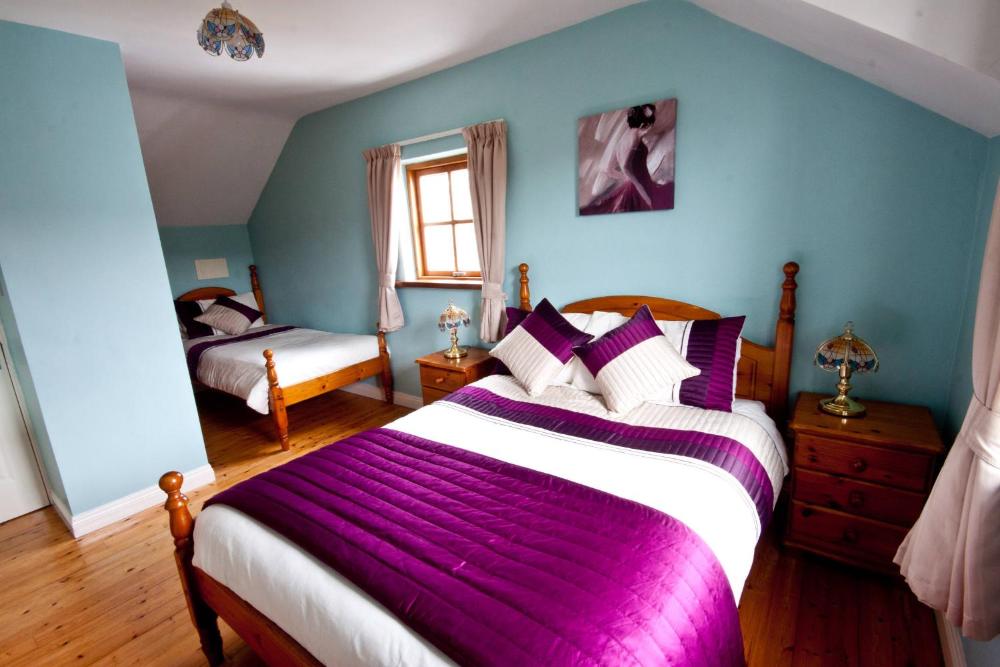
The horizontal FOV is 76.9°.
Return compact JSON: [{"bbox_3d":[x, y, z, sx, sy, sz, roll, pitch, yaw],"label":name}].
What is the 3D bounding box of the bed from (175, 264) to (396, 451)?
[{"bbox_3d":[-2.210,0.132,5.974,1.970,1.361,1.293,9,18,36],"label":"bed"}]
